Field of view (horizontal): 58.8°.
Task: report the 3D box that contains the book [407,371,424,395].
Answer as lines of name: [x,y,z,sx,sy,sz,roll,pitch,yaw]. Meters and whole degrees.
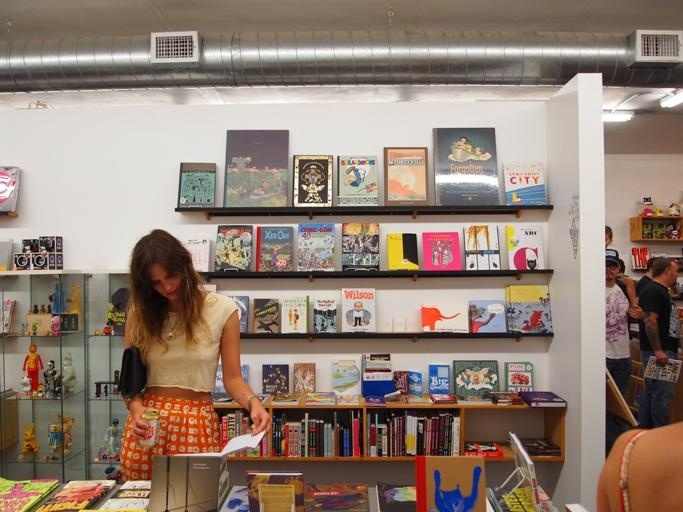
book: [0.717,1.262,5.996,0.203,0.295,0.031,0,0,0]

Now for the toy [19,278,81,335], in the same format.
toy: [-2.789,0.487,5.857,0.498,0.510,0.169,-1,-7,1]

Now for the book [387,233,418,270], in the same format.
book: [0.599,-0.044,5.991,0.304,0.340,0.077,3,-9,-1]

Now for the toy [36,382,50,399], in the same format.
toy: [-2.839,1.291,5.767,0.097,0.145,0.043,3,-12,1]

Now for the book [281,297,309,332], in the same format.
book: [-0.462,0.591,5.990,0.324,0.454,0.051,0,-4,3]

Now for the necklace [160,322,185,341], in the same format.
necklace: [-1.255,0.566,4.503,0.135,0.151,0.012,1,-12,1]

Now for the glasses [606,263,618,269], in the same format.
glasses: [2.875,0.105,6.447,0.122,0.078,0.061,-2,0,4]

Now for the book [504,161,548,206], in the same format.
book: [1.815,-0.713,6.010,0.404,0.484,0.064,-1,-4,4]

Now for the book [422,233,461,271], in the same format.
book: [0.983,-0.035,5.997,0.355,0.412,0.052,0,-20,-1]

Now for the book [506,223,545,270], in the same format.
book: [1.813,-0.087,6.011,0.431,0.605,0.063,0,-14,0]

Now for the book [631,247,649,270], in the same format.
book: [4.337,0.048,8.846,0.302,0.426,0.227,0,-1,11]

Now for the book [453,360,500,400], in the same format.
book: [1.315,1.229,5.956,0.313,0.282,0.047,-1,-3,0]

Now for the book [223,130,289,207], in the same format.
book: [-0.857,-0.850,6.060,0.714,0.999,0.067,0,-5,2]

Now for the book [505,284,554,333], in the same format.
book: [1.852,0.536,5.955,0.436,0.523,0.088,0,-11,3]

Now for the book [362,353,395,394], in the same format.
book: [0.354,1.190,6.123,0.341,0.504,0.358,0,-5,1]

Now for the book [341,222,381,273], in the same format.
book: [0.181,-0.074,5.996,0.458,0.631,0.062,0,-5,1]

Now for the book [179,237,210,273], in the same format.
book: [-1.319,0.001,5.467,0.309,0.322,0.107,-2,-12,-2]

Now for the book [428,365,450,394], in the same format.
book: [0.958,1.225,5.985,0.250,0.326,0.037,2,-12,-4]

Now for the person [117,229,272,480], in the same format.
person: [-1.159,0.717,4.484,0.990,1.876,0.237,-2,0,-4]

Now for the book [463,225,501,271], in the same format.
book: [1.379,-0.076,6.009,0.422,0.593,0.060,0,-12,-1]

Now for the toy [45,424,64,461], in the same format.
toy: [-2.720,1.771,5.760,0.166,0.347,0.061,-2,0,9]

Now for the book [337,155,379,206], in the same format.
book: [0.151,-0.740,6.014,0.469,0.631,0.066,0,-3,3]

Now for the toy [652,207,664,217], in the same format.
toy: [4.586,-0.642,8.854,0.148,0.147,0.129,1,3,-32]

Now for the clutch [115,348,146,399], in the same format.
clutch: [-1.549,0.867,4.490,0.202,0.403,0.123,-2,0,-21]

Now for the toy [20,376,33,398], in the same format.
toy: [-3.021,1.253,5.796,0.157,0.207,0.056,-2,0,36]

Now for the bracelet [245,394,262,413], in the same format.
bracelet: [-0.658,1.102,4.524,0.144,0.127,0.053,29,8,27]

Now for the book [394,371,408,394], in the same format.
book: [0.582,1.256,5.981,0.190,0.285,0.044,1,-9,-6]

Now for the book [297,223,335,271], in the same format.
book: [-0.255,-0.070,5.998,0.429,0.599,0.065,0,-5,2]

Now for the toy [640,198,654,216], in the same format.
toy: [4.446,-0.726,8.855,0.174,0.260,0.298,-2,1,27]
